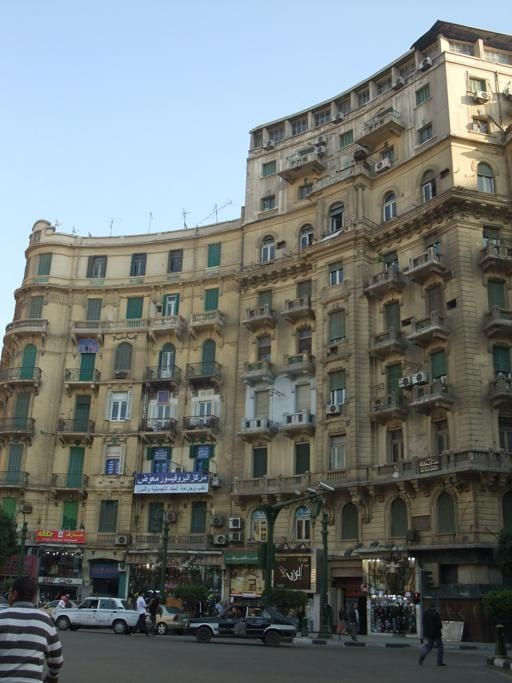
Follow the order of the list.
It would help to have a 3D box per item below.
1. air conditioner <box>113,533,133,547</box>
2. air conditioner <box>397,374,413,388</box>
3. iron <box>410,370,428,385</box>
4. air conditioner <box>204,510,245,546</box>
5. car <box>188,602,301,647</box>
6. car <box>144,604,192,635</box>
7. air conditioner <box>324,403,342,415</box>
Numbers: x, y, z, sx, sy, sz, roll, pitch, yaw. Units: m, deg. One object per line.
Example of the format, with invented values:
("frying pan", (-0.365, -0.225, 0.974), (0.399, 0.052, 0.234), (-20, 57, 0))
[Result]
("air conditioner", (-7.243, 10.843, 41.991), (1.266, 0.918, 0.621), (0, -20, 2))
("air conditioner", (6.494, 1.790, 33.642), (0.560, 0.523, 0.802), (5, -12, -9))
("iron", (7.064, 1.626, 33.061), (0.543, 0.724, 0.881), (15, -24, -25))
("air conditioner", (-1.570, 9.682, 39.672), (2.281, 1.737, 0.707), (-18, -28, 42))
("car", (-0.441, 8.824, 23.807), (3.024, 0.991, 1.279), (1, -39, 8))
("car", (-3.608, 10.259, 28.477), (2.340, 0.664, 0.881), (-4, -22, 17))
("air conditioner", (3.660, 3.374, 36.564), (0.496, 0.545, 0.900), (11, -15, -30))
